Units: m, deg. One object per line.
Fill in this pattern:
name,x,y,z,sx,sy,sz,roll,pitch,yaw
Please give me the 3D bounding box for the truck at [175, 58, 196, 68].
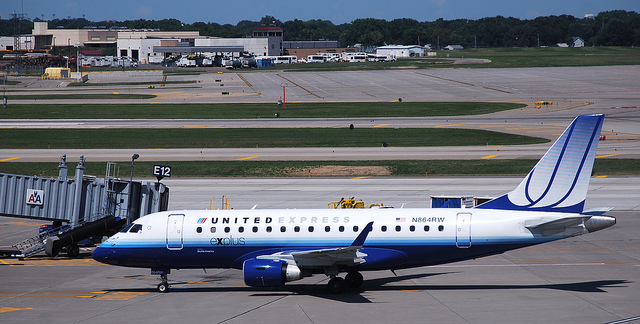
truck,-61.805,-44.950,429.735,9.816,3.909,4.408,8,12,39
